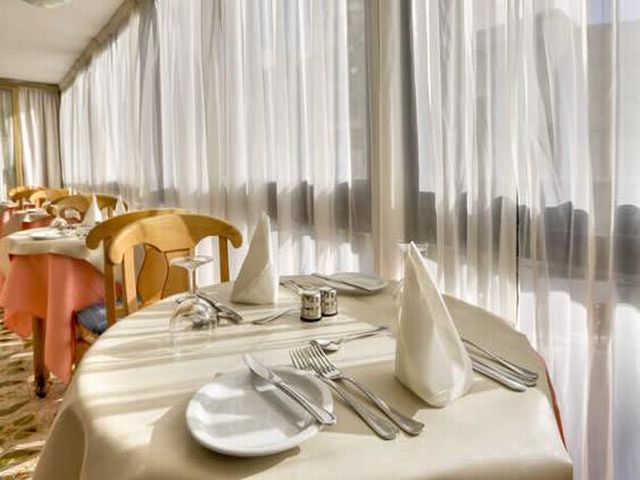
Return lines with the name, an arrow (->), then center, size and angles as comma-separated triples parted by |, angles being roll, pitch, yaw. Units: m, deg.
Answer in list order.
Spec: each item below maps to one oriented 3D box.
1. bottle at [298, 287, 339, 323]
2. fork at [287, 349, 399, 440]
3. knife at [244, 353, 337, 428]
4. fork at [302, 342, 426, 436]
bottle -> -0.005, 0.190, 1.642 | 0.110, 0.094, 0.073 | -4, 8, -36
fork -> 0.055, 0.380, 1.307 | 0.036, 0.038, 0.290 | -15, 34, -27
knife -> -0.072, 0.368, 1.305 | 0.037, 0.024, 0.257 | -9, 27, -33
fork -> 0.109, 0.369, 1.315 | 0.046, 0.049, 0.362 | -15, 28, -26
